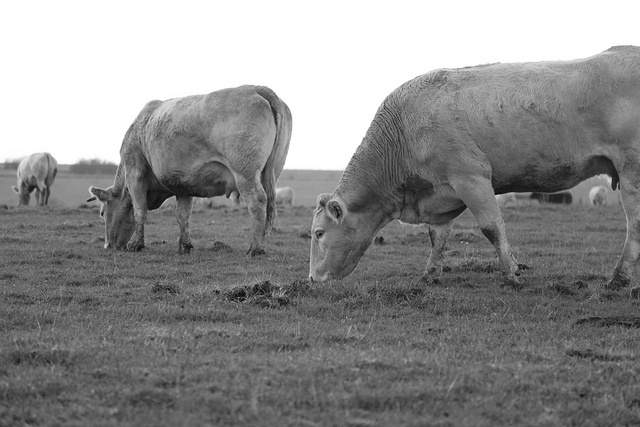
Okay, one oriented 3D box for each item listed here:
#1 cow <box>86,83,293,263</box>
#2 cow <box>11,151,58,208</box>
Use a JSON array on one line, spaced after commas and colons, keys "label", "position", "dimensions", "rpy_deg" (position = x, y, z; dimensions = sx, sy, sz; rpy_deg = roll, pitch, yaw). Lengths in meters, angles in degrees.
[{"label": "cow", "position": [-3.256, -0.774, 22.081], "dimensions": [2.017, 3.581, 6.869], "rpy_deg": [3, -6, -44]}, {"label": "cow", "position": [-10.514, -1.137, 34.871], "dimensions": [1.194, 2.001, 3.960], "rpy_deg": [4, -6, -32]}]
